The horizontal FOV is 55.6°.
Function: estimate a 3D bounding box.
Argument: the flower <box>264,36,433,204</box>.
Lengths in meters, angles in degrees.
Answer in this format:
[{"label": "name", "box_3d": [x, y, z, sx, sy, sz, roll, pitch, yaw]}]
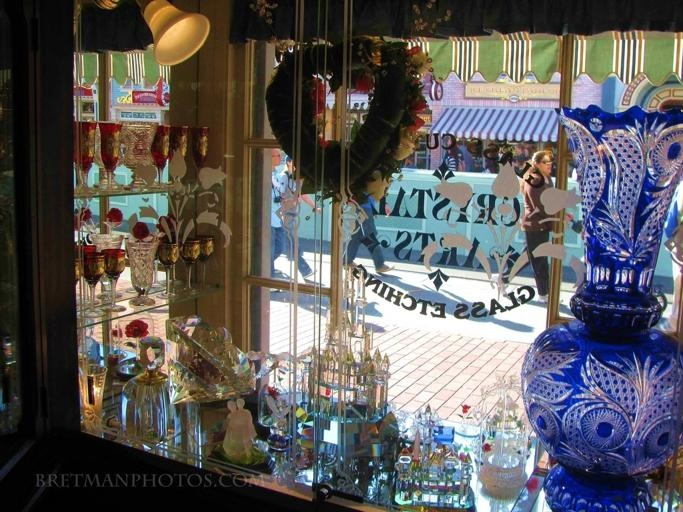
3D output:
[{"label": "flower", "box_3d": [0.034, -0.429, 1.959, 0.413, 0.506, 0.154, 7, 8, 17]}]

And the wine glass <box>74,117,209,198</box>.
[{"label": "wine glass", "box_3d": [-0.725, -0.307, 2.226, 0.413, 0.269, 0.221, 1, 3, -1]}]
